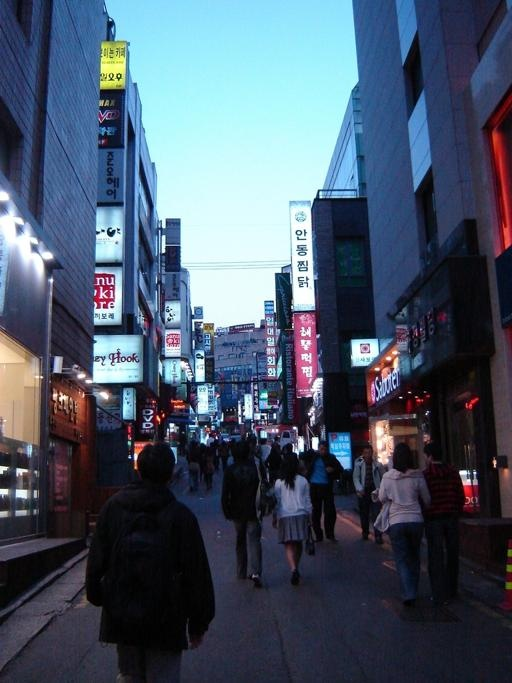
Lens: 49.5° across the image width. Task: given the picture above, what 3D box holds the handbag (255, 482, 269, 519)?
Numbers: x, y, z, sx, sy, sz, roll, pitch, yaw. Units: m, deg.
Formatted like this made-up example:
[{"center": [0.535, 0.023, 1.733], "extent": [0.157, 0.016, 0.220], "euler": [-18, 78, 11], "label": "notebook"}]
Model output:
[{"center": [0.083, 2.251, 7.835], "extent": [0.113, 0.460, 0.318], "euler": [0, -27, 4], "label": "handbag"}]
